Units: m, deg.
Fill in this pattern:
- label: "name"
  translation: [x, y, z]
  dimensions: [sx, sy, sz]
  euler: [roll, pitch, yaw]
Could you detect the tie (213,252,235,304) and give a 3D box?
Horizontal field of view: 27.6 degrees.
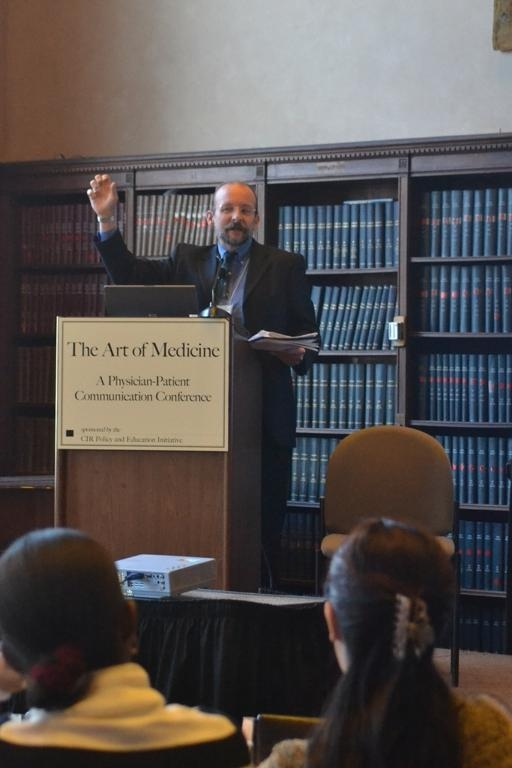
- label: "tie"
  translation: [-0.081, -0.284, 2.615]
  dimensions: [0.044, 0.057, 0.196]
  euler: [4, 40, 6]
